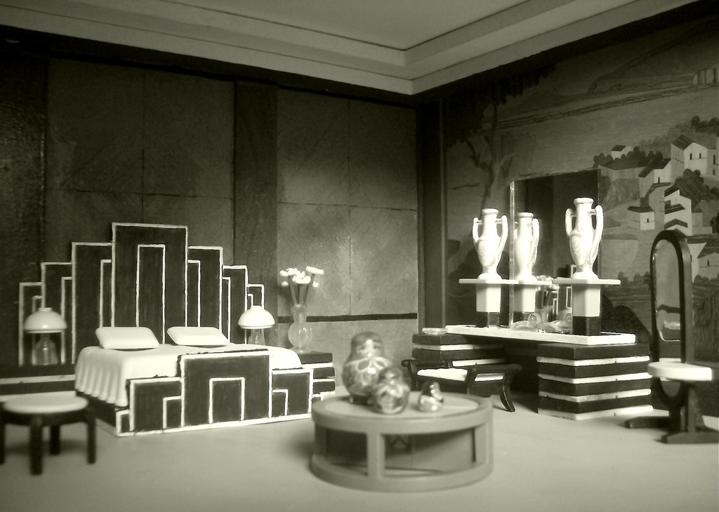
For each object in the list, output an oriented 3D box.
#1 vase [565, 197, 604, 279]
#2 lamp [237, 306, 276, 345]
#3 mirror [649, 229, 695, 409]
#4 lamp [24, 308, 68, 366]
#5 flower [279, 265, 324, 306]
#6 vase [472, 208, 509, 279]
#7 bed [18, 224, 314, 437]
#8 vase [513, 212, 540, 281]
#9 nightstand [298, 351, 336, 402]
[{"bbox_3d":[2.124,-0.189,6.555,0.356,0.736,0.693,3,9,18],"label":"vase"},{"bbox_3d":[-1.057,0.722,7.128,0.357,0.409,0.346,-1,-7,-14],"label":"lamp"},{"bbox_3d":[2.662,0.347,5.876,0.230,1.135,0.630,-1,9,-6],"label":"mirror"},{"bbox_3d":[-2.941,0.750,6.476,0.354,0.511,0.347,-5,-10,-15],"label":"lamp"},{"bbox_3d":[-0.718,0.359,7.660,0.522,0.519,0.555,-1,-5,-38],"label":"flower"},{"bbox_3d":[1.405,-0.156,7.393,0.353,0.732,0.662,2,9,12],"label":"vase"},{"bbox_3d":[-1.572,0.472,6.246,2.347,1.657,2.161,2,-2,-35],"label":"bed"},{"bbox_3d":[1.725,-0.111,7.122,0.258,0.669,0.475,2,9,13],"label":"vase"},{"bbox_3d":[-0.383,1.116,6.725,0.370,0.263,0.518,1,-4,-19],"label":"nightstand"}]
